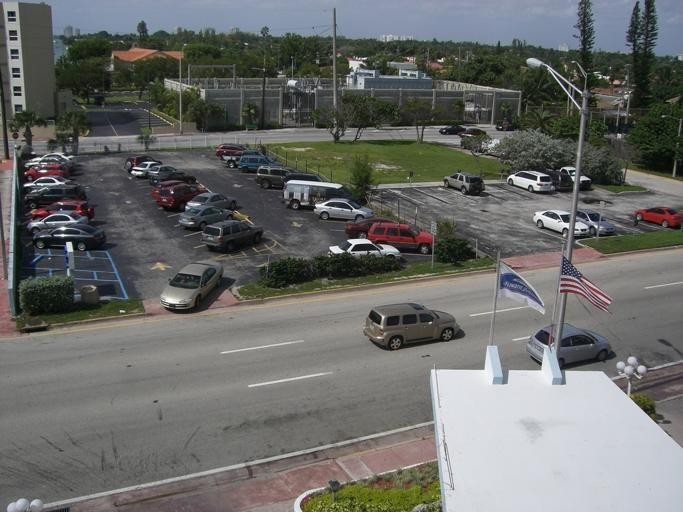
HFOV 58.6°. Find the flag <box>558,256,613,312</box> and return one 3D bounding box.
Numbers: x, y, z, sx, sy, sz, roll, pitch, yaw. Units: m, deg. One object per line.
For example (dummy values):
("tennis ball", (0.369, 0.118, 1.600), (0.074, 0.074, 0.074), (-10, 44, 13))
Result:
("flag", (9.140, 1.069, 23.398), (1.710, 2.075, 1.127), (3, 14, 18))

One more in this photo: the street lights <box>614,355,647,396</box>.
("street lights", (11.320, 4.991, 23.805), (0.827, 1.343, 0.709), (-2, 6, 28))

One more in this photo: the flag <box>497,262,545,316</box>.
("flag", (6.774, 1.266, 23.527), (1.515, 2.146, 1.262), (0, 7, 15))

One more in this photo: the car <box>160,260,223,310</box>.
("car", (-8.087, 1.667, 33.612), (1.742, 1.152, 3.691), (6, 21, 12))

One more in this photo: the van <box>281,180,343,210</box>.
("van", (-2.655, -5.066, 51.140), (5.502, 2.125, 2.257), (-1, 3, -22))

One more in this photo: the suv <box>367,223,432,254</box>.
("suv", (3.984, -1.318, 43.263), (4.059, 1.727, 2.112), (-1, 22, -3))
